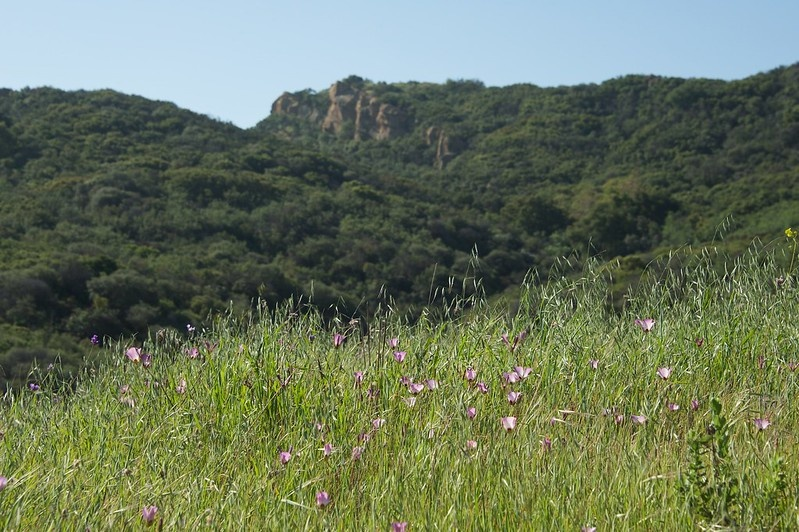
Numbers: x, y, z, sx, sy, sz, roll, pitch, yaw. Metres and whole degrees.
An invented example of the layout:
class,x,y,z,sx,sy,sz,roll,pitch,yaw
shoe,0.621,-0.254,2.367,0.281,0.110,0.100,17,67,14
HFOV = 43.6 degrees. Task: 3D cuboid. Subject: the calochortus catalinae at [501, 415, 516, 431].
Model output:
class,x,y,z,sx,sy,sz,roll,pitch,yaw
calochortus catalinae,8.700,12.468,79.592,0.986,0.771,0.997,-1,-3,11
